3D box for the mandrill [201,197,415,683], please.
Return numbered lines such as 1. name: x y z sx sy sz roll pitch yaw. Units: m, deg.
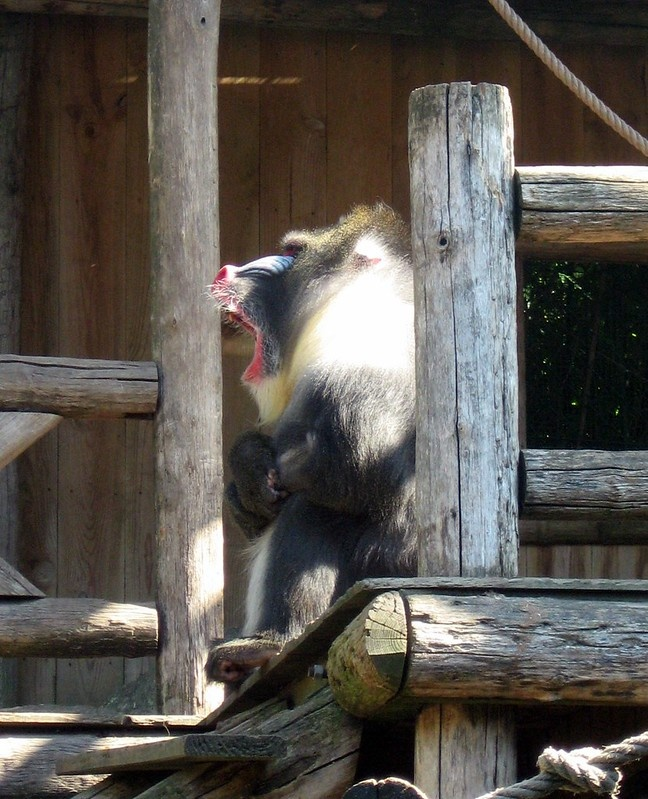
1. mandrill: -0.054 0.133 8.584 0.763 1.814 1.207 -1 -5 1
